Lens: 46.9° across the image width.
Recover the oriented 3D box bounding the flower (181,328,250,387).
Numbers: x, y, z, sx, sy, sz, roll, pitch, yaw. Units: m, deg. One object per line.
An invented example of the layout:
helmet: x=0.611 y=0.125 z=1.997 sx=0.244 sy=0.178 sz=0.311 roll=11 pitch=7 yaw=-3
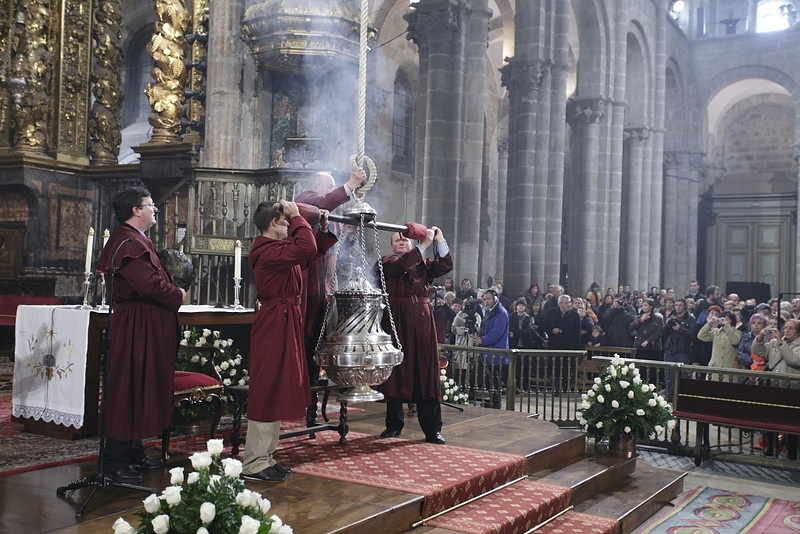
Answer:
flower: x=-2.602 y=1.317 z=13.314 sx=0.945 sy=1.210 sz=0.817 roll=-4 pitch=-8 yaw=24

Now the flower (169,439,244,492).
flower: x=-2.036 y=2.167 z=9.970 sx=0.768 sy=0.707 sz=0.827 roll=2 pitch=-6 yaw=-6

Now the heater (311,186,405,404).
heater: x=-0.519 y=0.401 z=11.504 sx=1.255 sy=2.443 sz=1.054 roll=1 pitch=-3 yaw=-19

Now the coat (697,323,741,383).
coat: x=5.856 y=1.680 z=16.905 sx=0.677 sy=1.418 sz=0.522 roll=2 pitch=-3 yaw=24

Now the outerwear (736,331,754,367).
outerwear: x=6.112 y=1.483 z=16.427 sx=0.184 sy=0.514 sz=0.407 roll=-7 pitch=-6 yaw=44

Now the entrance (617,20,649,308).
entrance: x=8.654 y=-3.687 z=34.416 sx=1.297 sy=6.095 sz=1.164 roll=1 pitch=9 yaw=19

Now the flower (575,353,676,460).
flower: x=3.377 y=2.256 z=14.580 sx=1.549 sy=1.615 sz=1.496 roll=2 pitch=-9 yaw=-7

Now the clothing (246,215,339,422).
clothing: x=-1.375 y=0.697 z=11.660 sx=1.132 sy=2.499 sz=1.092 roll=-2 pitch=-1 yaw=13

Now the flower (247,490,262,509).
flower: x=-1.517 y=2.447 z=9.668 sx=0.159 sy=0.170 sz=0.155 roll=4 pitch=-7 yaw=-13

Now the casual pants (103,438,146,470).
casual pants: x=-3.376 y=2.281 z=11.366 sx=0.512 sy=0.310 sz=0.297 roll=2 pitch=-1 yaw=-27

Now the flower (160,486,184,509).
flower: x=-2.337 y=2.347 z=9.494 sx=0.205 sy=0.186 sz=0.207 roll=-10 pitch=2 yaw=-25

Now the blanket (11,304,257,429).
blanket: x=-4.170 y=1.244 z=13.503 sx=1.533 sy=1.680 sz=2.764 roll=7 pitch=7 yaw=19

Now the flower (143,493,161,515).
flower: x=-2.552 y=2.443 z=9.581 sx=0.190 sy=0.161 sz=0.197 roll=-5 pitch=-6 yaw=-27

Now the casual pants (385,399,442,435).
casual pants: x=0.181 y=2.111 z=12.938 sx=0.613 sy=0.707 sz=0.241 roll=-1 pitch=-1 yaw=17

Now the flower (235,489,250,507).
flower: x=-1.621 y=2.384 z=9.546 sx=0.165 sy=0.153 sz=0.132 roll=3 pitch=2 yaw=26

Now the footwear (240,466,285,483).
footwear: x=-1.687 y=2.527 z=11.306 sx=0.543 sy=0.199 sz=0.195 roll=0 pitch=-5 yaw=2

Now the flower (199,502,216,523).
flower: x=-1.974 y=2.507 z=9.436 sx=0.187 sy=0.191 sz=0.186 roll=8 pitch=-6 yaw=3
